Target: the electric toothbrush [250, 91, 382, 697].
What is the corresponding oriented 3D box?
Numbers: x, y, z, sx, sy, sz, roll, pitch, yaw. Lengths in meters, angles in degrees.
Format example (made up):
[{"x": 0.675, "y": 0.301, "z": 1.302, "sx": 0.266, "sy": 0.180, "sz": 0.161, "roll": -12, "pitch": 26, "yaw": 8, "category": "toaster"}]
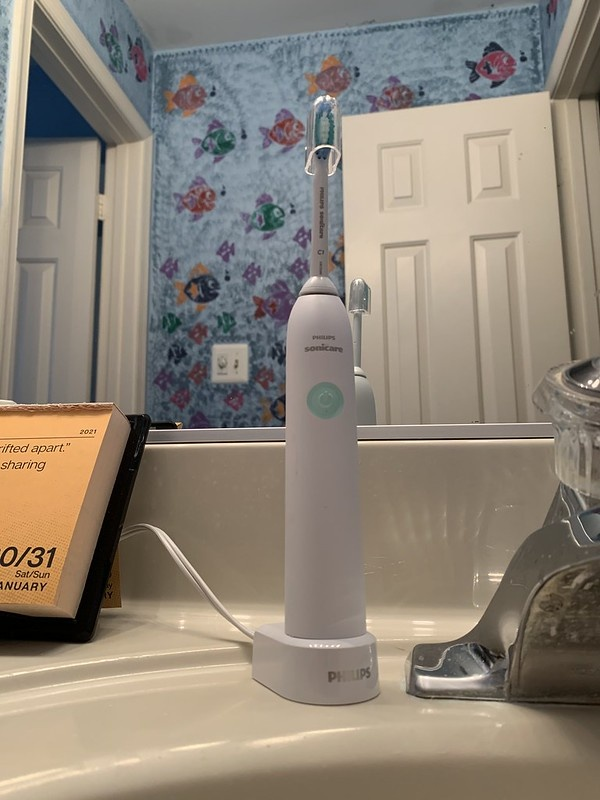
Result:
[{"x": 0.006, "y": 0.038, "z": 0.303, "sx": 0.043, "sy": 0.192, "sz": 0.058, "roll": -1, "pitch": 1, "yaw": -22, "category": "electric toothbrush"}]
